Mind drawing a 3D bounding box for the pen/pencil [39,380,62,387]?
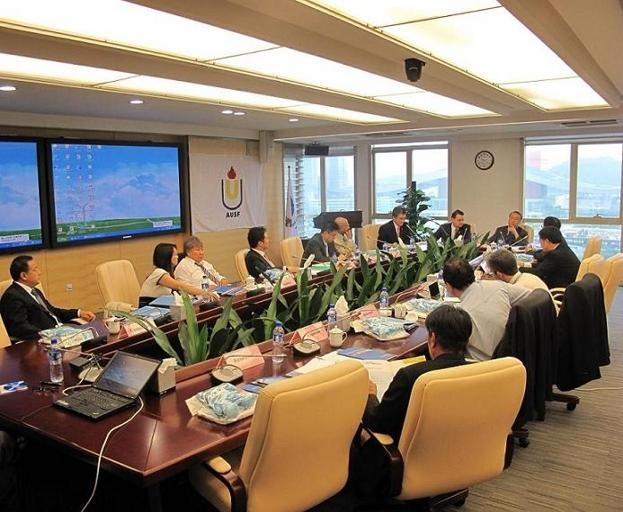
[{"bbox_3d":[-1.374,0.672,2.336,0.082,0.016,0.013,5,51,16],"label":"pen/pencil"}]

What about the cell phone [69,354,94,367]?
[{"bbox_3d":[-1.306,0.593,2.523,0.071,0.020,0.069,5,6,29],"label":"cell phone"}]

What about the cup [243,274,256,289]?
[{"bbox_3d":[-0.614,0.277,4.456,0.100,0.122,0.129,-1,-5,1],"label":"cup"}]

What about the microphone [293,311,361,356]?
[{"bbox_3d":[0.065,0.543,2.970,0.155,0.157,0.426,0,1,37],"label":"microphone"}]

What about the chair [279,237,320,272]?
[{"bbox_3d":[-0.241,-0.025,6.595,0.510,0.551,0.461,5,8,39],"label":"chair"}]

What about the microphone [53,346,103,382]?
[{"bbox_3d":[-1.279,0.616,2.492,0.209,0.109,0.315,5,4,13],"label":"microphone"}]

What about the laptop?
[{"bbox_3d":[-1.022,0.614,2.170,0.414,0.180,0.358,1,8,32],"label":"laptop"}]

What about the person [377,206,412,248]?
[{"bbox_3d":[1.424,-0.481,7.675,0.544,0.709,1.357,-3,7,11],"label":"person"}]

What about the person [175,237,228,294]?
[{"bbox_3d":[-1.218,0.124,4.987,0.556,0.701,0.803,-1,3,17],"label":"person"}]

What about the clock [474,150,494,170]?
[{"bbox_3d":[3.576,-1.957,9.145,0.388,0.409,0.069,3,11,42],"label":"clock"}]

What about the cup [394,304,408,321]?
[{"bbox_3d":[0.708,0.447,3.469,0.105,0.093,0.096,-1,8,0],"label":"cup"}]

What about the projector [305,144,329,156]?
[{"bbox_3d":[0.104,-2.304,9.692,0.501,0.236,0.254,-4,8,-1],"label":"projector"}]

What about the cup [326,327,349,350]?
[{"bbox_3d":[0.179,0.550,2.960,0.091,0.124,0.143,-3,-8,16],"label":"cup"}]

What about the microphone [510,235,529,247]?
[{"bbox_3d":[3.445,-0.231,7.361,0.283,0.105,0.223,-17,18,-36],"label":"microphone"}]

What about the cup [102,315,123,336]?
[{"bbox_3d":[-1.472,0.512,3.281,0.132,0.105,0.126,0,0,0],"label":"cup"}]

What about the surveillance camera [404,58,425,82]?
[{"bbox_3d":[0.749,-1.363,3.322,0.181,0.153,0.169,-3,6,-8],"label":"surveillance camera"}]

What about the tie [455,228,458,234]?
[{"bbox_3d":[2.482,-0.413,7.566,0.016,0.057,0.062,-18,30,-35],"label":"tie"}]

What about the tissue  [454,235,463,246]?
[{"bbox_3d":[2.323,-0.233,6.974,0.153,0.163,0.271,4,1,18],"label":"tissue "}]
